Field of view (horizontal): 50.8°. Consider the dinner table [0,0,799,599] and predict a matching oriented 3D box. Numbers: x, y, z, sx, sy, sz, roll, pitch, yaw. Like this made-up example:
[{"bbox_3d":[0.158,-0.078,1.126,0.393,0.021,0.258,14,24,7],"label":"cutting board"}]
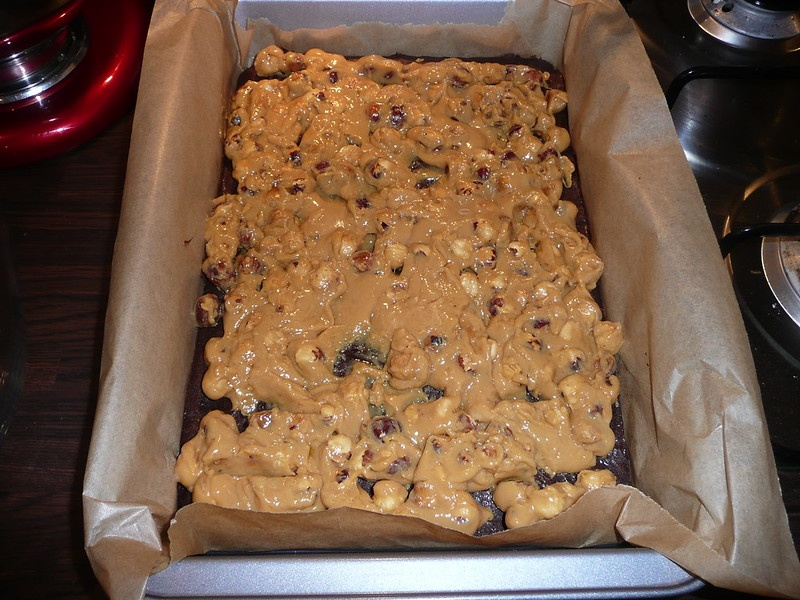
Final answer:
[{"bbox_3d":[0.321,0.026,1.902,0.896,0.294,1.283,0,66,1],"label":"dinner table"}]
